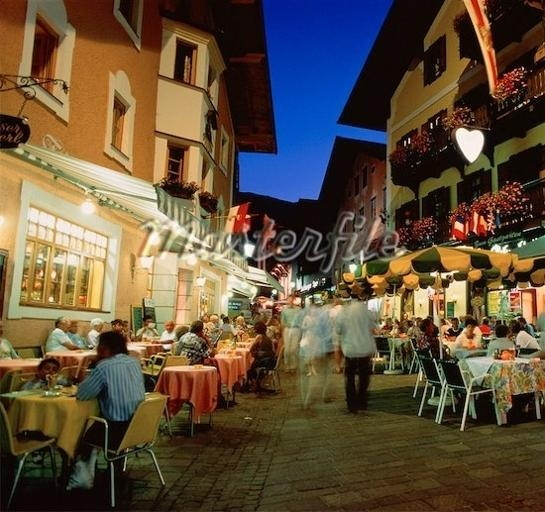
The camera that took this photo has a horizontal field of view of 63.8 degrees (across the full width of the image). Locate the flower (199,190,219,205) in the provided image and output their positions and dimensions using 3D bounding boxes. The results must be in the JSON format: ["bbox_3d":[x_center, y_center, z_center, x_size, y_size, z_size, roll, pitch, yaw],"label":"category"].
[{"bbox_3d":[-2.441,-2.249,16.856,0.421,0.218,0.610,8,2,37],"label":"flower"}]

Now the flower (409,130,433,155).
[{"bbox_3d":[6.604,-5.045,19.608,0.486,0.916,0.889,18,-18,-32],"label":"flower"}]

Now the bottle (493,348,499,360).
[{"bbox_3d":[3.654,1.607,7.156,0.091,0.185,0.119,0,-6,38],"label":"bottle"}]

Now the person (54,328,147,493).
[{"bbox_3d":[-1.594,1.501,4.286,0.682,1.522,0.490,3,-9,-24],"label":"person"}]

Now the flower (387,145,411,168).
[{"bbox_3d":[6.065,-4.804,21.091,0.775,0.870,0.842,-10,-5,-2],"label":"flower"}]

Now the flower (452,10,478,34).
[{"bbox_3d":[7.311,-9.039,16.894,0.176,0.763,0.698,-15,16,-42],"label":"flower"}]
